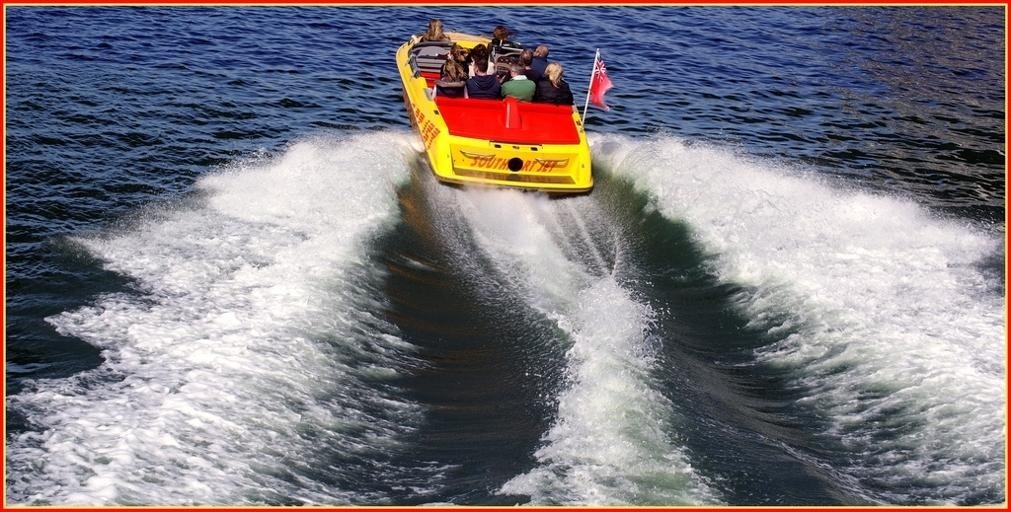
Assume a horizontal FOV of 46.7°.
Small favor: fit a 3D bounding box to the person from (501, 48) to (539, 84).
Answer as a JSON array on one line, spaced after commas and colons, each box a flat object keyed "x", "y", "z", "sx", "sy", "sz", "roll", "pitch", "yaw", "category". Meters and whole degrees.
[{"x": 0.463, "y": -4.772, "z": 29.665, "sx": 1.172, "sy": 0.504, "sz": 1.171, "roll": -6, "pitch": 27, "yaw": -10, "category": "person"}]

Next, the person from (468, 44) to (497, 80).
[{"x": -0.545, "y": -4.897, "z": 29.515, "sx": 1.120, "sy": 0.899, "sz": 0.479, "roll": 2, "pitch": 8, "yaw": -10, "category": "person"}]
